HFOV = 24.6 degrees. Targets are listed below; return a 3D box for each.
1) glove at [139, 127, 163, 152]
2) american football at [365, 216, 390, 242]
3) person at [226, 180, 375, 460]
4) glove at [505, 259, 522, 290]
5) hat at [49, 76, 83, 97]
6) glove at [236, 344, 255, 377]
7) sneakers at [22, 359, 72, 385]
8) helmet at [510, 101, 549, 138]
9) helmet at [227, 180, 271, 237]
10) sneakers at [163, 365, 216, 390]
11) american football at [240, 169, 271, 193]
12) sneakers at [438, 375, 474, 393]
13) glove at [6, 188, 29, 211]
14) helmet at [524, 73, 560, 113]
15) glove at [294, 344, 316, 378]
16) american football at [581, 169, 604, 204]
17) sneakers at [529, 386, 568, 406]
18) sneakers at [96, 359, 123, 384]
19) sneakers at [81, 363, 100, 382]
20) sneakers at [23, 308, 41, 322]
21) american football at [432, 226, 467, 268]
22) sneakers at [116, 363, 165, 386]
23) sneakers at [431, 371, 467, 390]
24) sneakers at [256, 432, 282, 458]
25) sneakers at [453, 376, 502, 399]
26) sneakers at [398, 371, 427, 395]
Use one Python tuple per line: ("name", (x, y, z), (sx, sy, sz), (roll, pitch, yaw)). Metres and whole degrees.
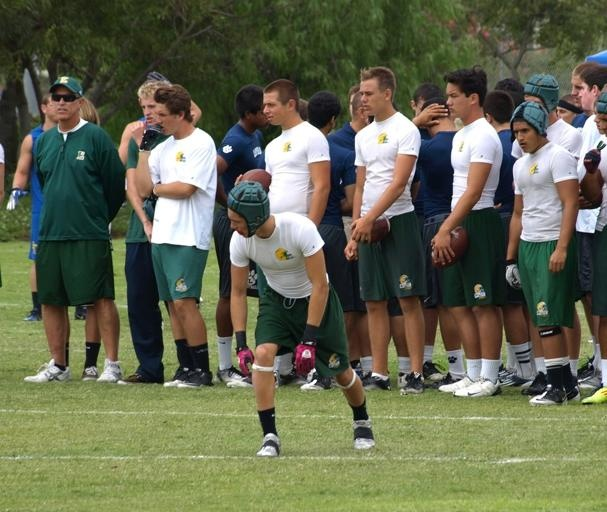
("glove", (-1.473, -1.165, 13.780), (0.258, 0.226, 0.400), (-3, -4, -5))
("american football", (0.734, -0.302, 13.388), (0.245, 0.284, 0.184), (-14, 22, -41))
("person", (-0.051, 0.491, 11.435), (1.041, 2.270, 0.616), (-3, -4, -5))
("glove", (1.968, 0.173, 13.180), (0.094, 0.230, 0.160), (-9, 5, -5))
("hat", (-2.362, -1.733, 13.957), (0.303, 0.253, 0.433), (-3, -4, -11))
("glove", (-0.497, 0.875, 11.434), (0.114, 0.296, 0.211), (-1, 6, 38))
("sneakers", (-2.560, 1.169, 14.034), (0.509, 0.264, 0.185), (0, 1, -15))
("helmet", (2.050, -1.302, 12.821), (0.244, 0.304, 0.321), (-19, -25, 39))
("helmet", (-0.416, -0.400, 11.201), (0.379, 0.482, 0.327), (1, 5, -22))
("sneakers", (-1.109, 1.196, 13.867), (0.344, 0.151, 0.218), (7, -7, -37))
("american football", (-0.417, -0.761, 13.316), (0.250, 0.205, 0.197), (-13, -2, -20))
("sneakers", (1.501, 1.270, 13.590), (0.359, 0.170, 0.137), (-18, -17, 12))
("glove", (-3.035, -0.622, 14.732), (0.066, 0.242, 0.228), (13, 2, 25))
("helmet", (2.293, -1.594, 13.158), (0.342, 0.382, 0.288), (-12, 23, -20))
("glove", (0.029, 0.848, 11.336), (0.168, 0.232, 0.080), (2, 9, 11))
("american football", (2.708, -0.668, 13.031), (0.193, 0.387, 0.216), (7, 19, 16))
("sneakers", (2.259, 1.278, 12.815), (0.305, 0.149, 0.157), (-1, -3, -22))
("sneakers", (-1.944, 1.155, 14.096), (0.252, 0.240, 0.314), (-3, -4, -9))
("sneakers", (-2.151, 1.188, 14.198), (0.134, 0.136, 0.314), (0, -4, -12))
("sneakers", (-3.441, 0.746, 17.834), (0.102, 0.132, 0.279), (3, -1, -34))
("american football", (1.411, -0.086, 13.253), (0.129, 0.367, 0.296), (35, -1, -3))
("sneakers", (-1.637, 1.187, 14.073), (0.475, 0.213, 0.168), (5, -9, -20))
("sneakers", (1.449, 1.242, 13.942), (0.380, 0.182, 0.135), (-16, -7, -5))
("sneakers", (-0.278, 1.538, 11.394), (0.206, 0.196, 0.231), (-4, -4, -2))
("sneakers", (1.689, 1.250, 13.335), (0.478, 0.219, 0.172), (-2, -7, -4))
("sneakers", (1.050, 1.226, 13.496), (0.212, 0.211, 0.208), (-4, -4, 11))
